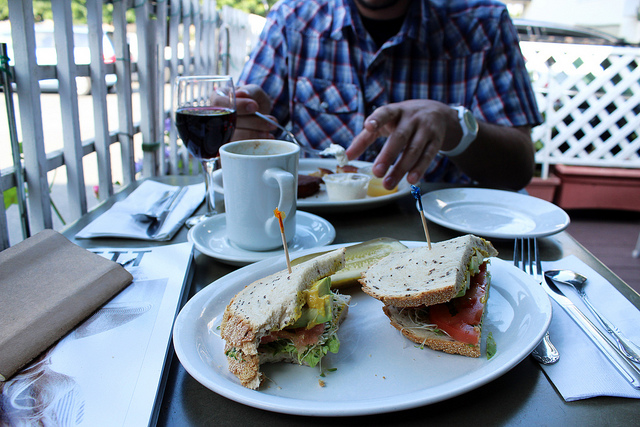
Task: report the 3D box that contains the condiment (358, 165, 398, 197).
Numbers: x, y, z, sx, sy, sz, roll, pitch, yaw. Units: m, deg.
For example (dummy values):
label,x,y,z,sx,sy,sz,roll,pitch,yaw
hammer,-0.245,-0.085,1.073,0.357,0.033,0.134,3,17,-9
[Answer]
label,x,y,z,sx,sy,sz,roll,pitch,yaw
condiment,0.281,-0.162,2.344,0.136,0.066,0.171,-4,22,-2

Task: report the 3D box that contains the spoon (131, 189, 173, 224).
label,x,y,z,sx,sy,sz,roll,pitch,yaw
spoon,-0.717,-0.038,1.970,0.042,0.043,0.234,3,30,8

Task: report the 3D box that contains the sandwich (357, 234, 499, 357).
label,x,y,z,sx,sy,sz,roll,pitch,yaw
sandwich,0.381,0.235,1.558,0.391,0.207,0.581,-7,12,28

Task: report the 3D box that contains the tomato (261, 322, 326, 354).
label,x,y,z,sx,sy,sz,roll,pitch,yaw
tomato,-0.071,0.333,1.307,0.130,0.078,0.127,0,4,20

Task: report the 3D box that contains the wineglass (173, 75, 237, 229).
label,x,y,z,sx,sy,sz,roll,pitch,yaw
wineglass,-0.451,-0.216,1.940,0.214,0.695,0.235,9,16,34
